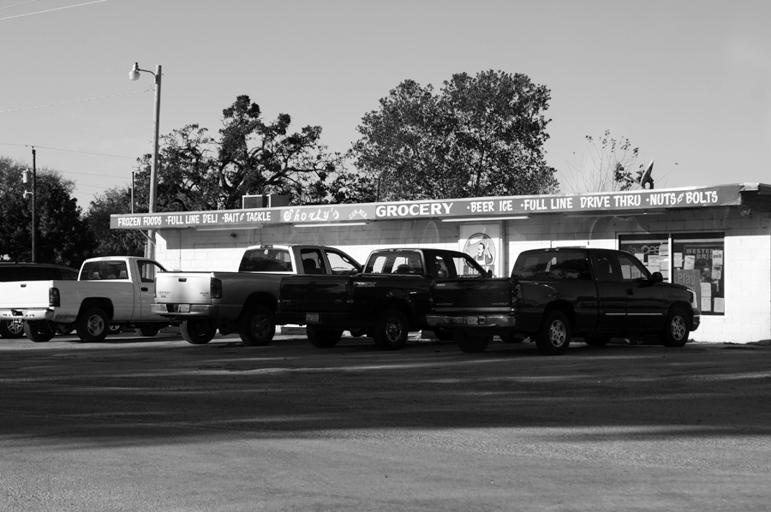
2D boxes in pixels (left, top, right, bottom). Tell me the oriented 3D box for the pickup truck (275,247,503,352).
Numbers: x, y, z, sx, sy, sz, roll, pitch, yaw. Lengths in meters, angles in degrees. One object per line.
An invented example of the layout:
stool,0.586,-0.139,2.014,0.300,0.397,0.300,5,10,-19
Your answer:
pickup truck,-0.140,1.020,23.446,4.748,1.763,2.518,-1,-1,-44

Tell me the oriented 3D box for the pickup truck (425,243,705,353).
pickup truck,4.511,1.048,22.294,5.624,1.849,2.680,-1,-1,-37

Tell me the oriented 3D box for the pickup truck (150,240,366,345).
pickup truck,-3.340,0.925,24.686,4.996,2.029,2.714,-2,1,-41
